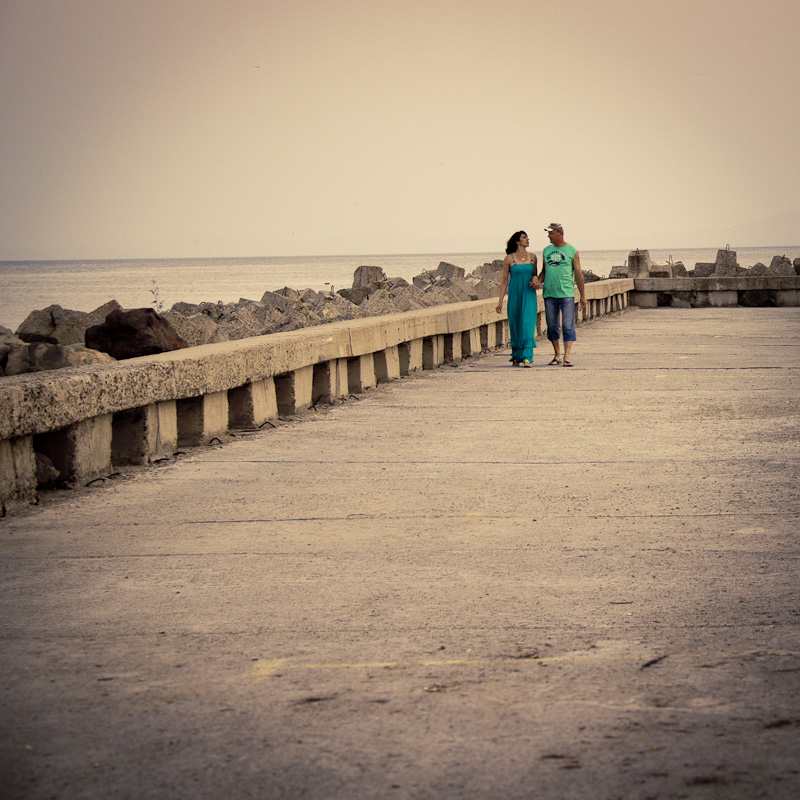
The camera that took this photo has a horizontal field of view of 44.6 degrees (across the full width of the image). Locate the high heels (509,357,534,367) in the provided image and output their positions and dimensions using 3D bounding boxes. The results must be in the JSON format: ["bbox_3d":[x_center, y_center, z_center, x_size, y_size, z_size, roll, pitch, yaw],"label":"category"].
[{"bbox_3d":[1.864,-0.602,15.181,0.119,0.145,0.348,-1,1,-10],"label":"high heels"}]

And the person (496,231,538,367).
[{"bbox_3d":[1.840,-1.564,15.184,0.592,2.040,1.291,0,5,6],"label":"person"}]
